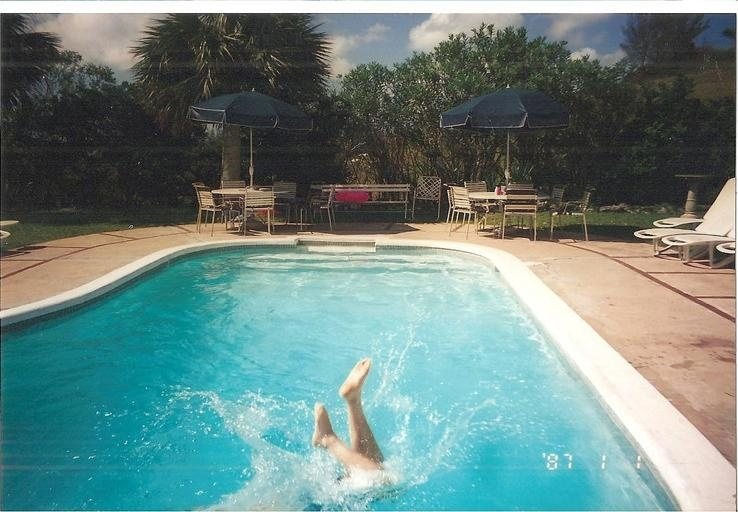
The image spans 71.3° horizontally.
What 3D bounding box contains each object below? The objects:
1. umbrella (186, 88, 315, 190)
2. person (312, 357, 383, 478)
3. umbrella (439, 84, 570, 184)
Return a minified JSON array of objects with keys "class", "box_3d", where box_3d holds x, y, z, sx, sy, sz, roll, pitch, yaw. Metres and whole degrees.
[{"class":"umbrella","box_3d":[-2.791,-2.572,12.130,2.747,2.420,2.832,6,15,1]},{"class":"person","box_3d":[-0.167,1.527,4.500,0.434,1.157,0.314,-16,12,7]},{"class":"umbrella","box_3d":[3.230,-2.620,11.757,2.824,2.484,2.719,-14,20,-40]}]
